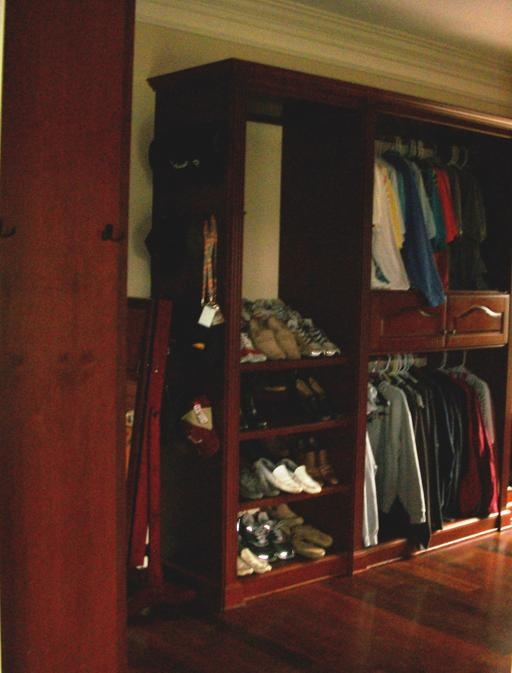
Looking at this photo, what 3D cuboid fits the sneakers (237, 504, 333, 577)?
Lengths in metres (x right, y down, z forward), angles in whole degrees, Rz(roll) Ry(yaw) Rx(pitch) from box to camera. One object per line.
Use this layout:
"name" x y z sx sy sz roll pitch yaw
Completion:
"sneakers" 0.051 0.736 2.332 0.214 0.091 0.282 -4 9 -32

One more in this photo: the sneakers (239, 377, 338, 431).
"sneakers" 0.106 0.239 2.286 0.458 0.153 0.173 -1 4 -38

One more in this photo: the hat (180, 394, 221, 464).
"hat" -0.200 0.305 2.039 0.134 0.209 0.098 4 4 37

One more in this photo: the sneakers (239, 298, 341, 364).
"sneakers" 0.095 -0.026 2.274 0.223 0.115 0.305 -13 43 -36
